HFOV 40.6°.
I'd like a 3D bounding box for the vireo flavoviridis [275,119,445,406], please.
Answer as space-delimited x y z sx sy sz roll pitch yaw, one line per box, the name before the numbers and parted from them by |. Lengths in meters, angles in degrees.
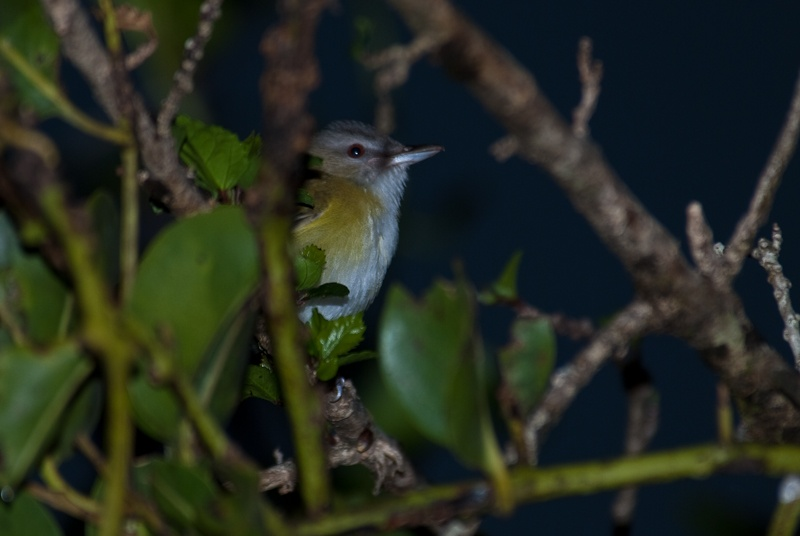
vireo flavoviridis | -0.130 -0.113 2.951 0.302 0.612 0.604 -24 29 -39
